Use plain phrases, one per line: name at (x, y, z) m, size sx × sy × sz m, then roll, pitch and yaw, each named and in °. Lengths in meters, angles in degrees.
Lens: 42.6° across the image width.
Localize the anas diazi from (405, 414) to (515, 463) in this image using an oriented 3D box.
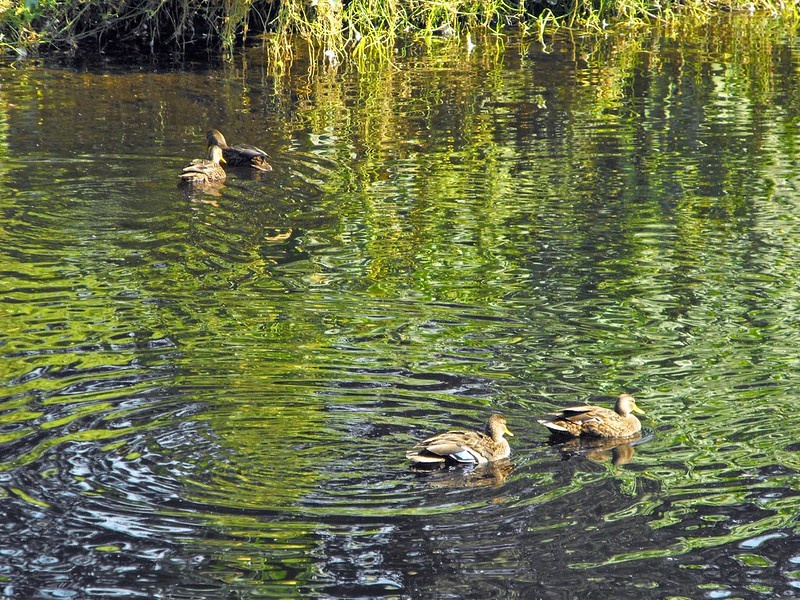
anas diazi at (0.401, 1.191, 8.690) m, size 1.113 × 0.334 × 0.497 m, roll 1°, pitch 5°, yaw -30°

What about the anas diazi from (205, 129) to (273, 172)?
anas diazi at (-2.533, -2.295, 15.901) m, size 1.253 × 0.463 × 0.383 m, roll 14°, pitch 31°, yaw 30°

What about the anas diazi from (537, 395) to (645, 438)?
anas diazi at (1.726, 1.048, 9.225) m, size 1.066 × 0.267 × 0.370 m, roll -1°, pitch 6°, yaw -11°
